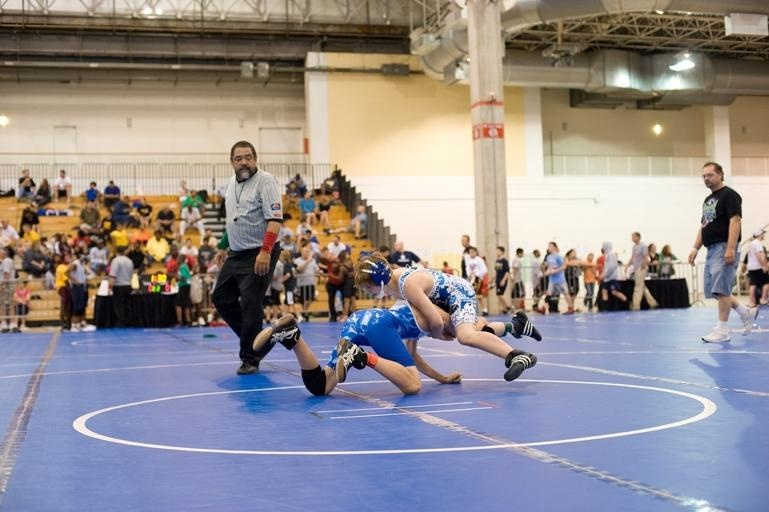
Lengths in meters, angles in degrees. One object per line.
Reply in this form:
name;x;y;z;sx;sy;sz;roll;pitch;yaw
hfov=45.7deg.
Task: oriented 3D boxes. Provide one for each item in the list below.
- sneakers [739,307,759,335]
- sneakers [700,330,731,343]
sneakers;7.380;1.284;18.535;0.226;0.536;0.172;5;22;18
sneakers;6.446;1.533;17.814;0.590;0.287;0.228;0;-5;5
